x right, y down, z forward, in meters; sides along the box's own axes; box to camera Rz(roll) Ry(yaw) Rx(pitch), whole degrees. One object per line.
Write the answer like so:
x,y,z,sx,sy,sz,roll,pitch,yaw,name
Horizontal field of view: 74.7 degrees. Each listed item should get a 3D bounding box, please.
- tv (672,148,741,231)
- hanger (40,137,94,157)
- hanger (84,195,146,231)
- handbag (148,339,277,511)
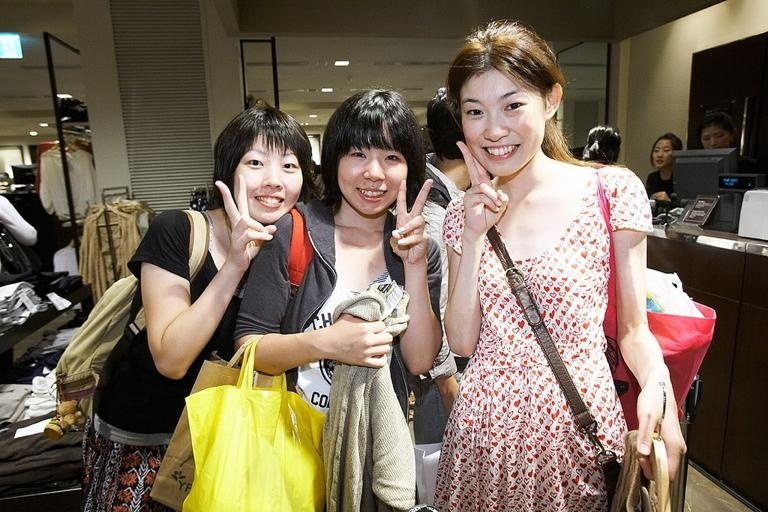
2.415,-0.492,3.776,0.203,0.620,0.583,-8,11,-25,tv
-3.624,-1.254,5.818,0.294,0.184,0.032,0,28,-10,hanger
-2.859,-0.486,5.501,0.391,0.222,0.550,-1,9,-11,hanger
-0.646,0.664,1.938,0.438,0.698,0.241,26,3,-28,handbag
